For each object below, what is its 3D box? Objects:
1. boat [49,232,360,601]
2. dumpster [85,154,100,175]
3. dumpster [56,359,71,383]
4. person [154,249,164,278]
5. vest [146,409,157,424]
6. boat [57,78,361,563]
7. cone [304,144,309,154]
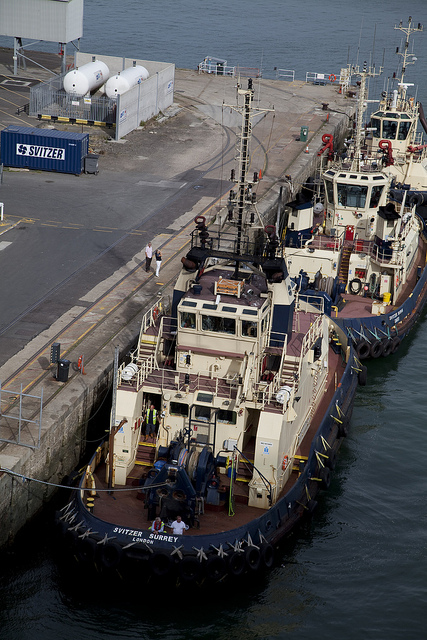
[{"bbox_3d":[-0.270,2.146,24.233,6.433,6.763,14.238,8,24,13],"label":"boat"},{"bbox_3d":[-9.234,-11.815,54.845,1.268,1.681,1.786,0,22,-2],"label":"dumpster"},{"bbox_3d":[-5.729,1.788,27.301,0.691,0.957,0.732,2,13,0],"label":"dumpster"},{"bbox_3d":[-2.936,-3.072,39.688,0.652,2.048,0.658,-1,47,-2],"label":"person"},{"bbox_3d":[-2.013,3.058,23.386,0.366,0.460,0.406,2,4,2],"label":"vest"},{"bbox_3d":[0.110,1.115,25.924,8.792,10.092,19.635,12,14,1],"label":"boat"},{"bbox_3d":[8.006,-14.588,62.399,0.391,0.474,0.369,0,10,2],"label":"cone"}]
